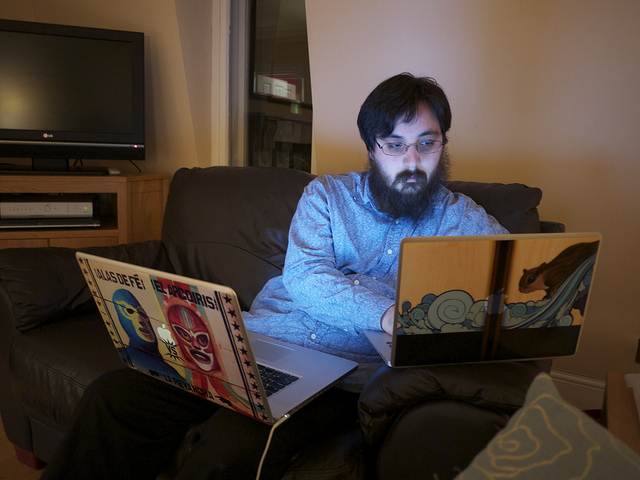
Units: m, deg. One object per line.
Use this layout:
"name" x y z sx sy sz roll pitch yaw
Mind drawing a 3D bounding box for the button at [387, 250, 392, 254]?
"button" 0.227 0.038 1.614 0.015 0.012 0.006 5 13 13

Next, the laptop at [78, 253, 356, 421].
"laptop" -0.277 0.184 1.332 0.611 0.384 0.508 6 17 25

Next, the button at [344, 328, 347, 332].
"button" 0.080 0.279 1.536 0.010 0.010 0.002 -6 30 27

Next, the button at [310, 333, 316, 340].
"button" -0.020 0.305 1.563 0.016 0.018 0.010 5 13 15

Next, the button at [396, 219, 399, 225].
"button" 0.256 -0.062 1.633 0.009 0.014 0.005 -2 13 -15
